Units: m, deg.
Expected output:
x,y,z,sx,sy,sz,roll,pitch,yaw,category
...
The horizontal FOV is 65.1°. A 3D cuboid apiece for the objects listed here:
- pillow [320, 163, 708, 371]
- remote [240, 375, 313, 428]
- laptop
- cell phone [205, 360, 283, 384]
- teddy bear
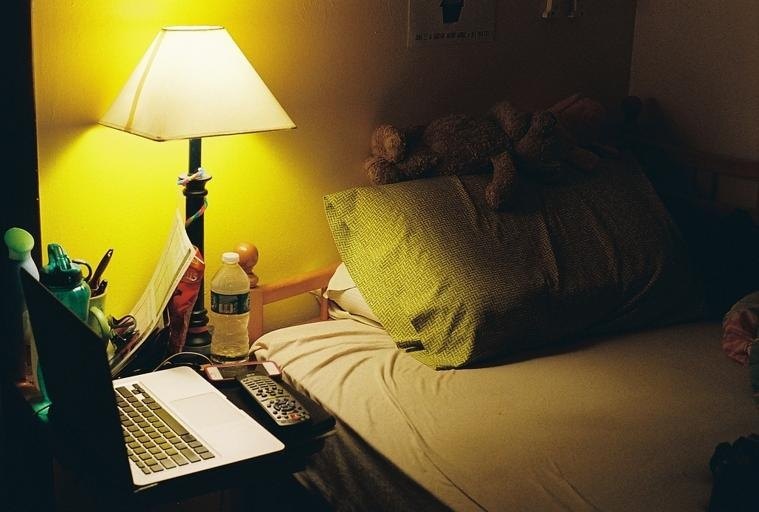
x,y,z,sx,sy,sz,roll,pitch,yaw,category
0.419,0.018,1.701,0.922,0.565,0.166,-9,-26,-20,pillow
-0.228,0.303,1.282,0.071,0.034,0.168,-8,34,-31,remote
-0.432,0.199,1.166,0.340,0.286,0.405,-2,15,-45,laptop
-0.325,0.271,1.408,0.125,0.016,0.064,-1,14,-26,cell phone
0.355,-0.346,1.895,0.610,0.188,0.399,-14,40,-7,teddy bear
